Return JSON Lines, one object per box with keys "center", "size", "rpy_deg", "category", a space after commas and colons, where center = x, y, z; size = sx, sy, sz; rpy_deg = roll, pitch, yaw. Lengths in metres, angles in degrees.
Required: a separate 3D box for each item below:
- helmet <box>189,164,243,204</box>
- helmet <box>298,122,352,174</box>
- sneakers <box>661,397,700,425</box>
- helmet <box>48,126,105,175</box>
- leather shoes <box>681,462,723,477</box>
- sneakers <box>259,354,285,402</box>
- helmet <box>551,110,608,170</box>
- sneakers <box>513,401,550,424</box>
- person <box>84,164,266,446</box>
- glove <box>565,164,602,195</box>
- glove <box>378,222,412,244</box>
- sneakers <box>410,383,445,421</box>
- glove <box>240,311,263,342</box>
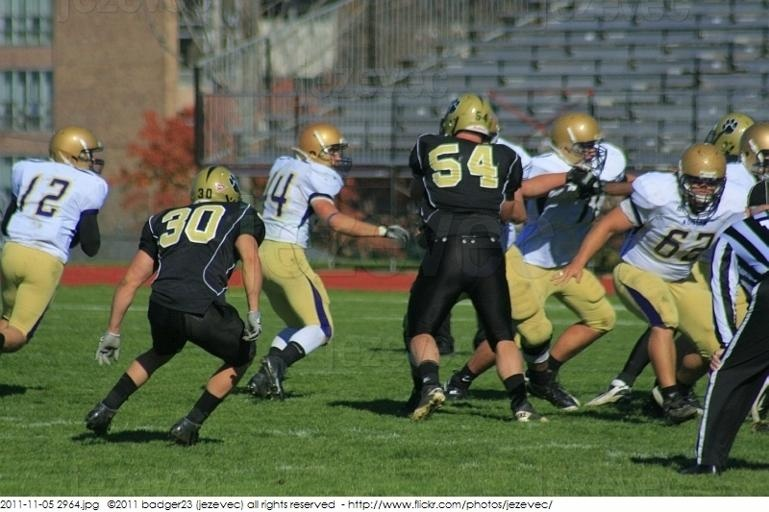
{"center": [-1.594, -0.680, 12.451], "size": [0.438, 0.335, 0.325], "rpy_deg": [-16, 13, -42], "category": "helmet"}
{"center": [-0.687, -1.174, 13.799], "size": [0.551, 0.420, 0.406], "rpy_deg": [13, 11, -2], "category": "helmet"}
{"center": [2.931, 1.519, 12.798], "size": [0.205, 0.164, 0.378], "rpy_deg": [-8, -2, -24], "category": "sneakers"}
{"center": [-3.171, -1.087, 13.632], "size": [0.629, 0.450, 0.459], "rpy_deg": [2, 10, -14], "category": "helmet"}
{"center": [2.890, 1.946, 11.787], "size": [0.402, 0.159, 0.131], "rpy_deg": [5, -3, 10], "category": "leather shoes"}
{"center": [-1.105, 1.236, 13.232], "size": [0.178, 0.495, 0.248], "rpy_deg": [-4, 22, 20], "category": "sneakers"}
{"center": [1.994, -1.245, 13.520], "size": [0.599, 0.497, 0.471], "rpy_deg": [5, 25, 16], "category": "helmet"}
{"center": [1.479, 1.544, 12.835], "size": [0.457, 0.185, 0.147], "rpy_deg": [1, 0, -9], "category": "sneakers"}
{"center": [-1.899, 0.627, 12.163], "size": [1.470, 2.222, 0.535], "rpy_deg": [1, 10, -6], "category": "person"}
{"center": [1.951, -0.724, 12.909], "size": [0.332, 0.148, 0.245], "rpy_deg": [29, -20, 32], "category": "glove"}
{"center": [0.116, -0.210, 12.954], "size": [0.268, 0.206, 0.463], "rpy_deg": [4, 10, 10], "category": "glove"}
{"center": [0.414, 1.433, 12.684], "size": [0.124, 0.361, 0.178], "rpy_deg": [43, 3, -29], "category": "sneakers"}
{"center": [-1.219, 0.670, 12.214], "size": [0.239, 0.271, 0.134], "rpy_deg": [-3, -15, 19], "category": "glove"}
